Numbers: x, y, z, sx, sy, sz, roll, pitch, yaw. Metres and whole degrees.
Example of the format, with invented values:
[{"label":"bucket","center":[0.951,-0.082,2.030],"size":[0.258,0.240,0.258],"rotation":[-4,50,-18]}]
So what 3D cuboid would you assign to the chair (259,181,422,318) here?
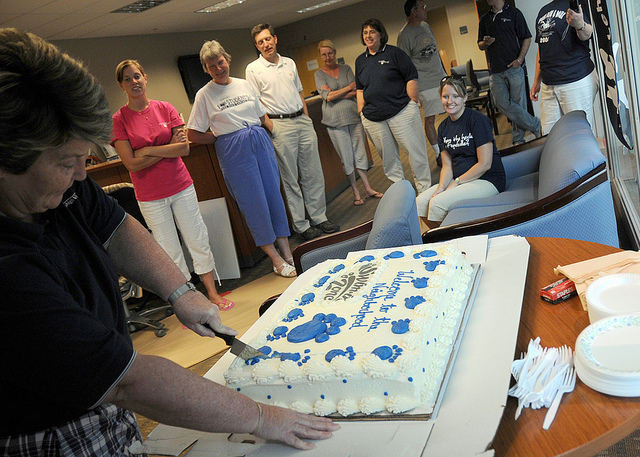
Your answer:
[{"label":"chair","center":[0.271,0.044,2.731],"size":[0.826,1.087,0.726],"rotation":[5,31,26]}]

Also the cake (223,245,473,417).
[{"label":"cake","center":[0.202,0.303,1.512],"size":[0.535,0.176,0.718],"rotation":[-18,18,34]}]
